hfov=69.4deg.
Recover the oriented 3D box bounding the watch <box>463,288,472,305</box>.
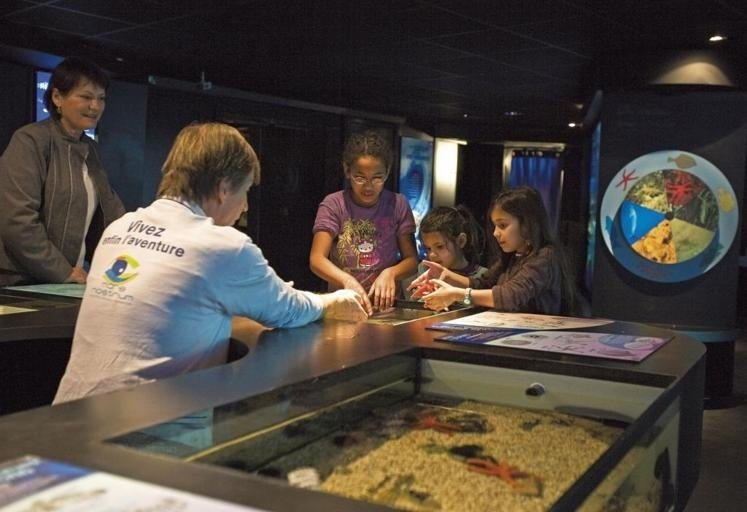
[{"bbox_3d":[0.457,0.199,2.638,0.047,0.075,0.077,2,11,15],"label":"watch"}]

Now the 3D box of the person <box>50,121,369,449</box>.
[{"bbox_3d":[-0.543,-0.001,1.772,0.897,0.868,0.355,-3,10,-31],"label":"person"}]

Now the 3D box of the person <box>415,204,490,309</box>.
[{"bbox_3d":[0.662,-0.071,3.680,0.551,0.778,0.506,1,3,-32],"label":"person"}]

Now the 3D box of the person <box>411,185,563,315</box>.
[{"bbox_3d":[0.608,-0.019,2.841,0.860,0.689,0.553,-6,11,-44],"label":"person"}]
